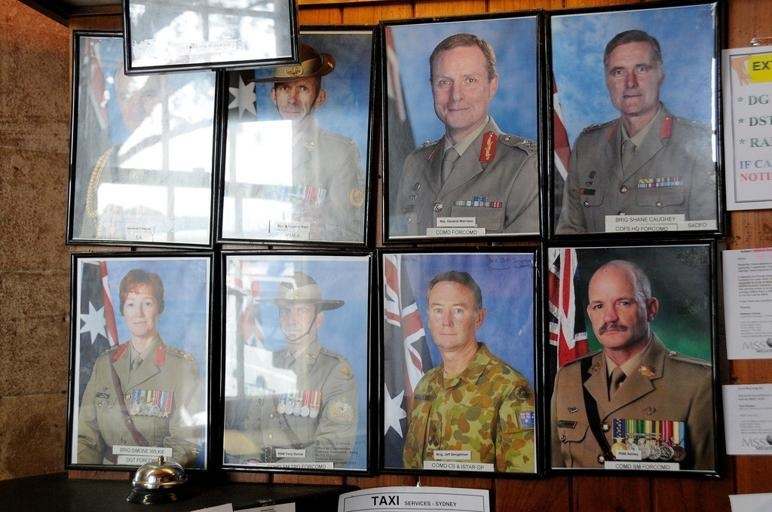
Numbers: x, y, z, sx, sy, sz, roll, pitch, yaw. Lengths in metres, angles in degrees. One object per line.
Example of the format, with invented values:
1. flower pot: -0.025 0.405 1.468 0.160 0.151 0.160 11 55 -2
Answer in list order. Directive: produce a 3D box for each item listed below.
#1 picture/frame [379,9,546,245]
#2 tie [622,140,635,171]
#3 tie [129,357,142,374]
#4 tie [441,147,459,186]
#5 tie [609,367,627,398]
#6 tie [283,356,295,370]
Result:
1. picture/frame: 0.339 -0.496 4.051 0.895 1.291 0.045 0 -2 5
2. tie: 0.966 -0.402 3.982 0.059 0.105 0.039 4 -4 10
3. tie: -1.028 0.456 4.122 0.048 0.052 0.013 6 -2 1
4. tie: 0.255 -0.360 4.087 0.073 0.140 0.032 8 -4 9
5. tie: 0.911 0.492 3.955 0.041 0.151 0.037 20 -5 -15
6. tie: -0.393 0.435 4.067 0.047 0.071 0.010 -2 -12 3
